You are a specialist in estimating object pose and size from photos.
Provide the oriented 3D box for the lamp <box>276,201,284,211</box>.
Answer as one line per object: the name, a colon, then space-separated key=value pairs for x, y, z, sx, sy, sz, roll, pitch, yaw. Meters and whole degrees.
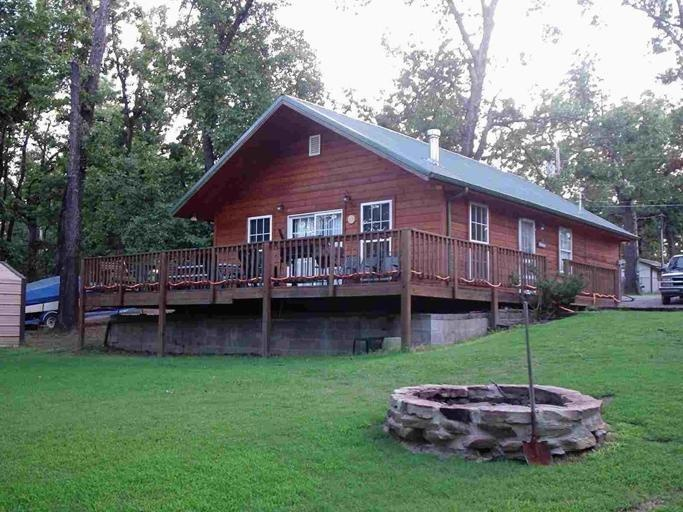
lamp: x=-2.227 y=-1.805 z=20.190 sx=0.252 sy=0.358 sz=0.345 roll=-5 pitch=-7 yaw=41

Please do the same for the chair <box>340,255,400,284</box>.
chair: x=0.791 y=0.347 z=14.252 sx=0.882 sy=0.435 sz=0.910 roll=-4 pitch=-6 yaw=36
